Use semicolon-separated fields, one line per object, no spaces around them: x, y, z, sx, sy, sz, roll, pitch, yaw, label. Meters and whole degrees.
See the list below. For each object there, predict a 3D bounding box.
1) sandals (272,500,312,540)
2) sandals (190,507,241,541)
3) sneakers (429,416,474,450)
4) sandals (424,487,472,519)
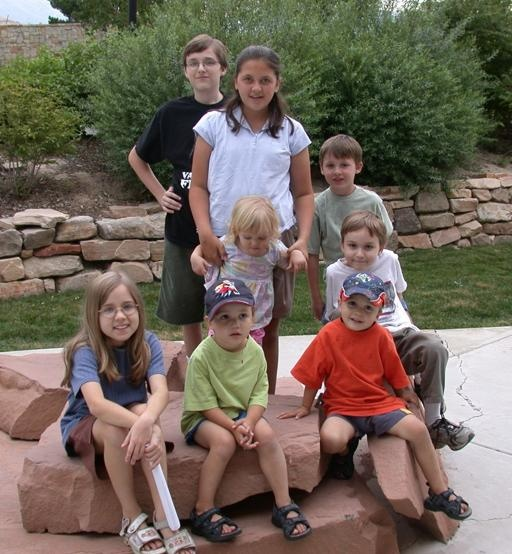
0.121;0.870;1.999;0.127;0.106;0.202;-3;10;-4;sandals
-0.149;0.858;1.956;0.176;0.076;0.081;1;8;43;sandals
0.859;0.685;2.474;0.108;0.098;0.204;-30;15;-36;sneakers
0.719;0.840;2.097;0.177;0.082;0.088;4;25;30;sandals
